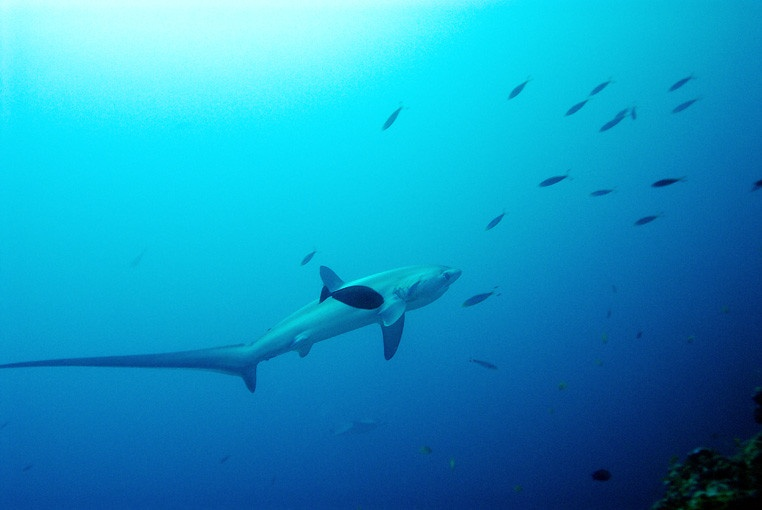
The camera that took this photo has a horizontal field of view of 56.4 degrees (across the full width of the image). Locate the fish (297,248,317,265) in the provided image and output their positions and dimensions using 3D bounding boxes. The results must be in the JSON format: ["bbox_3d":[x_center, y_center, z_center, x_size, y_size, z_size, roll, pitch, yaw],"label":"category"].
[{"bbox_3d":[-1.810,0.067,17.313,0.236,0.860,0.361,26,-99,-6],"label":"fish"}]
